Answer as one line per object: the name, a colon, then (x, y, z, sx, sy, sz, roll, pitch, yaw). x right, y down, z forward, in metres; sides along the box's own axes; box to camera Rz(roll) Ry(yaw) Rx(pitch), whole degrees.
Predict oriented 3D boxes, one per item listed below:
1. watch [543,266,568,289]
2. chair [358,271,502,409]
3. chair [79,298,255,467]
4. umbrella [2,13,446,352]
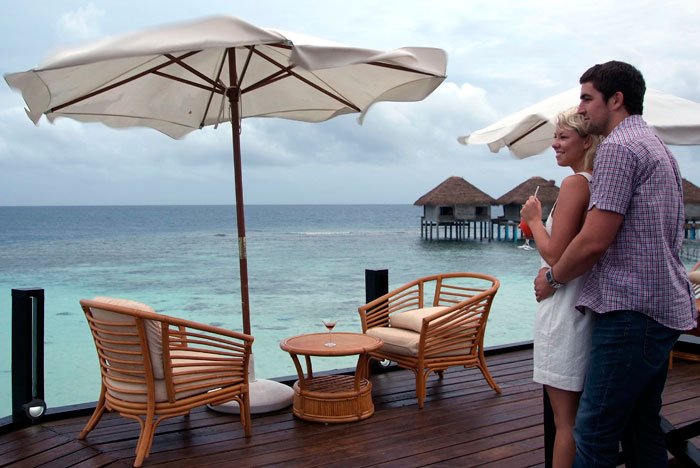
watch: (1.043, 0.226, 2.670, 0.118, 0.060, 0.104, 14, 39, -13)
chair: (0.887, 0.938, 5.287, 1.486, 1.059, 1.258, 0, 0, -30)
chair: (-1.312, 0.990, 4.192, 1.112, 1.052, 1.362, 2, 3, 37)
umbrella: (-0.980, -0.378, 4.355, 3.097, 2.515, 2.008, 0, -1, -7)
